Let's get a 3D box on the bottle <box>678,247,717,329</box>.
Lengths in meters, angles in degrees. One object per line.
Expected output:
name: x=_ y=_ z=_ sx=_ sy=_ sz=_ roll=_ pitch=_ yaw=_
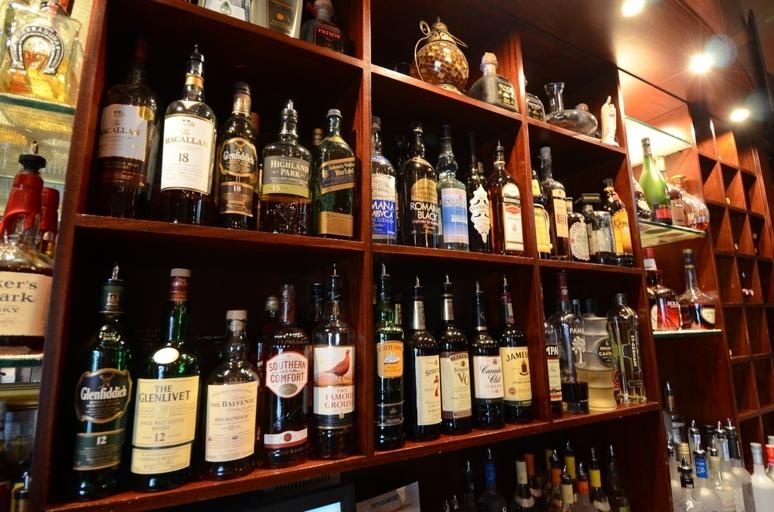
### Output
bottle: x=1.577 y=0.170 z=2.791 sx=0.148 sy=0.413 sz=0.200 roll=-7 pitch=-12 yaw=29

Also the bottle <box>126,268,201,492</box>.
bottle: x=-0.672 y=0.373 z=1.681 sx=0.176 sy=0.670 sz=0.080 roll=4 pitch=-12 yaw=-24

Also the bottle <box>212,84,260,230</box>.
bottle: x=-0.492 y=-0.340 z=1.823 sx=0.119 sy=0.510 sz=0.071 roll=3 pitch=-11 yaw=-20

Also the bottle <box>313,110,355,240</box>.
bottle: x=-0.179 y=-0.290 z=1.910 sx=0.144 sy=0.466 sz=0.053 roll=1 pitch=-11 yaw=-7

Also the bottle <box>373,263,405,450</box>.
bottle: x=0.008 y=0.366 z=1.896 sx=0.096 sy=0.594 sz=0.049 roll=0 pitch=-11 yaw=-4

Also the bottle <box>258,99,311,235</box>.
bottle: x=-0.346 y=-0.302 z=1.892 sx=0.181 sy=0.490 sz=0.161 roll=5 pitch=-12 yaw=-27

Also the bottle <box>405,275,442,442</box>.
bottle: x=0.136 y=0.374 z=2.001 sx=0.124 sy=0.571 sz=0.133 roll=-1 pitch=-11 yaw=0

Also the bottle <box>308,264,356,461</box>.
bottle: x=-0.177 y=0.347 z=1.851 sx=0.117 sy=0.649 sz=0.122 roll=-1 pitch=-11 yaw=0

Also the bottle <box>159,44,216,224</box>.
bottle: x=-0.640 y=-0.405 z=1.785 sx=0.162 sy=0.628 sz=0.122 roll=3 pitch=-11 yaw=-19

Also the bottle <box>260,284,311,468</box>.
bottle: x=-0.330 y=0.390 z=1.794 sx=0.144 sy=0.582 sz=0.054 roll=2 pitch=-11 yaw=-15
